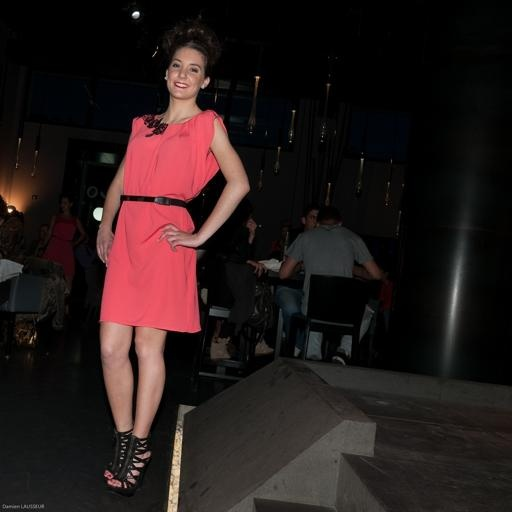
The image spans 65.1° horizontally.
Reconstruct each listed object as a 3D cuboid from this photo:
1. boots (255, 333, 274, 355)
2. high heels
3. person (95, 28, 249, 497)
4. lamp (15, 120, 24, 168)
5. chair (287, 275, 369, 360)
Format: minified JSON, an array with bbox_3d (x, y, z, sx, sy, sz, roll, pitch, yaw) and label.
[{"bbox_3d":[0.107,0.934,4.204,0.101,0.235,0.303,2,2,45],"label":"boots"},{"bbox_3d":[-0.428,0.692,1.361,0.078,0.134,0.254,4,-1,-3],"label":"high heels"},{"bbox_3d":[-0.293,-0.006,1.430,0.458,1.596,0.250,5,-4,-13],"label":"person"},{"bbox_3d":[-6.104,-2.852,10.289,0.148,1.108,0.274,7,-5,-33],"label":"lamp"},{"bbox_3d":[0.582,0.437,3.337,0.409,1.078,0.616,4,7,1],"label":"chair"}]
